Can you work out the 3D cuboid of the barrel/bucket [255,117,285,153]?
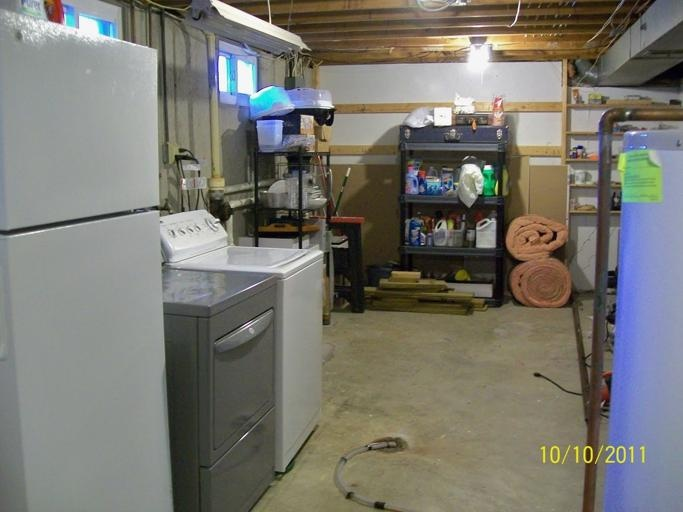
[{"bbox_3d":[-0.648,-1.088,5.074,0.248,0.294,0.187,-1,11,-1],"label":"barrel/bucket"}]

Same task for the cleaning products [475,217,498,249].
[{"bbox_3d":[1.636,-0.262,6.332,0.297,0.424,0.315,2,6,16],"label":"cleaning products"}]

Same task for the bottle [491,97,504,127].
[{"bbox_3d":[1.797,-1.666,6.426,0.128,0.333,0.379,3,11,15],"label":"bottle"}]

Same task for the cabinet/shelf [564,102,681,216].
[{"bbox_3d":[3.110,-1.210,6.865,0.757,1.402,0.408,4,12,22],"label":"cabinet/shelf"}]

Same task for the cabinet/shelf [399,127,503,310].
[{"bbox_3d":[1.325,-0.614,6.601,1.252,2.156,0.767,2,34,13],"label":"cabinet/shelf"}]

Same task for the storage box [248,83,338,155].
[{"bbox_3d":[-0.427,-1.234,5.103,0.708,0.515,0.565,-1,7,-4],"label":"storage box"}]

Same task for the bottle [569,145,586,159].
[{"bbox_3d":[2.901,-1.283,6.887,0.183,0.160,0.132,3,12,18],"label":"bottle"}]

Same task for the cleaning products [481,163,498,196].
[{"bbox_3d":[1.674,-0.858,6.330,0.171,0.348,0.254,2,11,14],"label":"cleaning products"}]
